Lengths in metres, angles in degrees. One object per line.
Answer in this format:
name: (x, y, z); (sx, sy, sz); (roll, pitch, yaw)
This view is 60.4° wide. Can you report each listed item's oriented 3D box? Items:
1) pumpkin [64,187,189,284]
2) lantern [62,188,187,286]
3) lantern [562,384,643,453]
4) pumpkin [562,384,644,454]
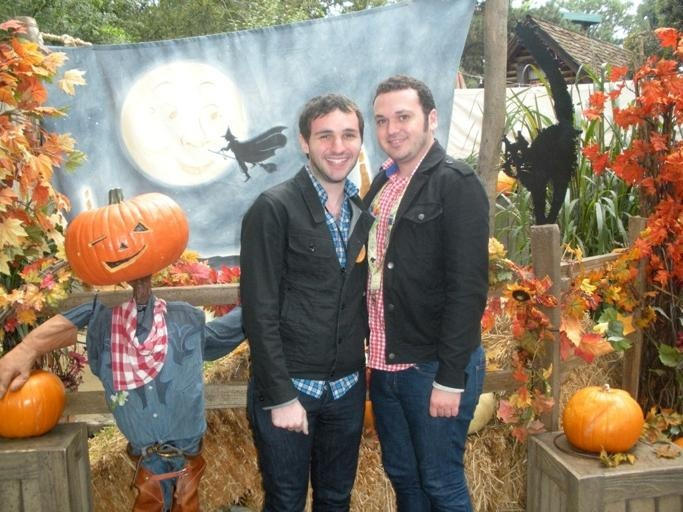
pumpkin: (-1.214, -0.094, 3.331); (0.647, 0.511, 0.300); (-4, 7, -26)
lantern: (-1.254, -0.174, 3.440); (0.567, 0.534, 0.633); (14, 15, 37)
lantern: (1.654, 1.006, 3.810); (0.438, 0.402, 0.424); (0, 9, -42)
pumpkin: (1.679, 1.036, 3.818); (0.425, 0.404, 0.438); (11, 9, 44)
